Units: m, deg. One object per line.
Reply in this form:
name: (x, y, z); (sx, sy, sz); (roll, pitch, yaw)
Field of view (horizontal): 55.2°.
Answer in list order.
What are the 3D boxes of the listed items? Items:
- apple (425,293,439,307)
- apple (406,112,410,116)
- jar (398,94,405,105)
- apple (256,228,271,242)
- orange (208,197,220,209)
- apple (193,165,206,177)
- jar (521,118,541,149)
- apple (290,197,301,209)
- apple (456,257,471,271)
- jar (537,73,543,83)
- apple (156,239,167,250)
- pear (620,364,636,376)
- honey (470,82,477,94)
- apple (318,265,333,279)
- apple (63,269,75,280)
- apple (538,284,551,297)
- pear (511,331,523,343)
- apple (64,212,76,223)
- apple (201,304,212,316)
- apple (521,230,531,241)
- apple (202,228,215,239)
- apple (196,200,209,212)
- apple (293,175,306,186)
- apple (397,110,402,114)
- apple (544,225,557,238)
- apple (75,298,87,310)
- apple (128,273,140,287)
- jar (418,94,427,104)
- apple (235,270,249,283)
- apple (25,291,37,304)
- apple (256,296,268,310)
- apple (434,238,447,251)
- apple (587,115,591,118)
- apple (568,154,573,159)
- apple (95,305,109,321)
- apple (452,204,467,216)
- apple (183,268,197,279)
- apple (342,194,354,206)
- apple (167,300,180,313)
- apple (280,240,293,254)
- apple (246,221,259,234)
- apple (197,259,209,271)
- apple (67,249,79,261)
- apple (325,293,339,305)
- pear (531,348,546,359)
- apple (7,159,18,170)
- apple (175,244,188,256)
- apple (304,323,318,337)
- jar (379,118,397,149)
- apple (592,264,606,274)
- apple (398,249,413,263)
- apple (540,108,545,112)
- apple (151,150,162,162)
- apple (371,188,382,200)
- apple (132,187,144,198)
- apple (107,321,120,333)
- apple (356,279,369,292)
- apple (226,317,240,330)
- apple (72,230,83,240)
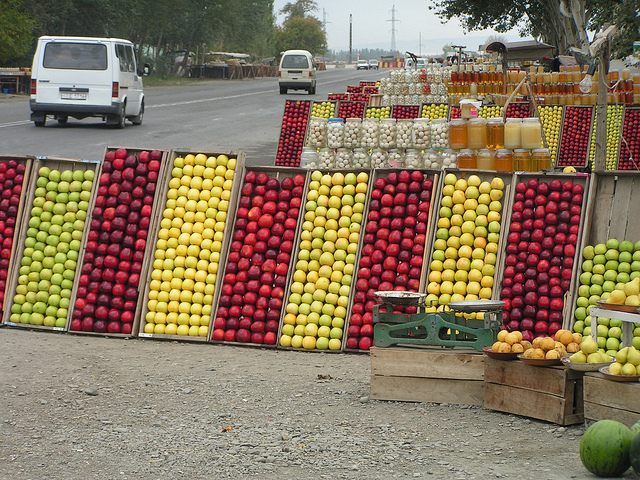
apple: (1.373, 0.740, 7.554); (0.145, 0.094, 0.173); (-12, 22, 11)
apple: (2.659, -3.707, 18.409); (0.090, 0.084, 0.086); (13, -29, 13)
jar: (2.991, -5.072, 22.439); (0.236, 0.347, 0.293); (2, 6, 6)
apple: (-0.754, -0.052, 8.353); (0.178, 0.166, 0.168); (-23, 17, -2)
orange: (-1.470, -0.488, 8.497); (0.116, 0.147, 0.112); (43, 6, -7)
apple: (-1.695, -0.941, 8.587); (0.142, 0.136, 0.127); (2, 13, 1)
jar: (3.035, -1.490, 8.789); (0.257, 0.433, 0.311); (4, 6, 29)
apple: (-0.320, -0.497, 8.426); (0.125, 0.124, 0.122); (10, 46, 37)
apple: (1.796, 0.311, 7.622); (0.167, 0.154, 0.165); (0, 6, 18)
jar: (7.684, -5.556, 21.347); (0.178, 0.321, 0.138); (3, 6, 18)
apple: (-2.184, 0.083, 8.444); (0.150, 0.126, 0.056); (2, 5, 10)
pear: (2.529, 1.065, 5.012); (0.116, 0.083, 0.065); (3, 6, 15)
honey: (5.219, -5.039, 20.773); (0.239, 0.388, 0.375); (2, 6, 13)
apple: (0.075, 0.430, 8.096); (0.168, 0.152, 0.165); (-1, 16, 5)
apple: (-3.488, 0.491, 8.583); (0.147, 0.135, 0.129); (-2, -42, 10)
apple: (2.701, 0.617, 7.362); (0.146, 0.161, 0.133); (0, 1, -4)
pear: (1.931, 0.943, 5.954); (0.088, 0.101, 0.088); (-21, 0, 1)
apple: (-3.515, -0.295, 8.616); (0.135, 0.126, 0.128); (0, 11, 12)
apple: (-1.516, 0.948, 8.231); (0.125, 0.118, 0.118); (-1, -12, 2)
apple: (2.552, -0.039, 7.567); (0.090, 0.130, 0.080); (-1, 6, -24)
apple: (-1.520, -0.072, 8.375); (0.146, 0.134, 0.135); (-12, 43, -24)
apple: (-1.621, -0.445, 8.490); (0.148, 0.145, 0.080); (-23, -11, -5)
apple: (-0.280, -0.793, 8.483); (0.128, 0.123, 0.117); (10, 35, 25)
apple: (2.400, -3.776, 18.395); (0.082, 0.093, 0.080); (5, -2, -6)
apple: (2.819, -0.091, 7.541); (0.146, 0.133, 0.137); (-12, 17, -36)
apple: (-3.261, 0.884, 8.354); (0.133, 0.125, 0.128); (2, 3, -1)
apple: (-2.541, 0.558, 8.372); (0.143, 0.179, 0.062); (3, 6, 24)
jar: (3.799, -5.136, 22.644); (0.294, 0.324, 0.311); (1, 6, 0)
apple: (-1.033, 0.509, 8.286); (0.155, 0.146, 0.141); (-27, -22, 29)
apple: (-4.028, 0.808, 8.549); (0.158, 0.150, 0.143); (6, -11, -10)
apple: (-0.766, 0.848, 8.224); (0.169, 0.148, 0.160); (-17, 1, 1)
apple: (1.535, 0.074, 7.762); (0.132, 0.145, 0.128); (-4, 17, -2)
apple: (8.327, -3.742, 18.921); (0.092, 0.078, 0.044); (4, 6, 24)
apple: (7.726, -2.511, 18.867); (0.130, 0.115, 0.049); (3, 6, 22)
apple: (-2.971, 1.005, 8.345); (0.184, 0.212, 0.121); (-1, 6, -16)
apple: (1.777, -0.367, 7.812); (0.142, 0.135, 0.134); (0, -35, 11)
apple: (-1.750, 0.458, 8.351); (0.146, 0.131, 0.170); (9, 10, -1)
apple: (0.369, -0.513, 8.275); (0.147, 0.141, 0.163); (-15, -19, -28)
apple: (-1.984, 0.923, 8.343); (0.144, 0.132, 0.140); (-6, -26, 10)
apple: (-0.443, 0.108, 8.298); (0.143, 0.141, 0.134); (-24, -49, 26)
apple: (-0.914, -0.155, 8.388); (0.147, 0.142, 0.136); (-3, -36, 2)
apple: (-1.588, 0.358, 8.303); (0.128, 0.144, 0.135); (9, -19, -31)
apple: (-3.437, 0.232, 8.584); (0.149, 0.136, 0.135); (3, -10, 0)
apple: (0.157, 0.783, 8.002); (0.158, 0.138, 0.149); (2, -11, 2)
pear: (1.984, 1.039, 5.552); (0.089, 0.048, 0.089); (-2, 15, 14)
apple: (-4.452, -1.069, 8.875); (0.123, 0.141, 0.119); (-7, -10, -6)
apple: (-1.884, 0.160, 8.455); (0.174, 0.146, 0.145); (8, 0, 18)
apple: (-0.111, 1.170, 7.926); (0.169, 0.156, 0.155); (-8, 10, 0)
jar: (1.175, -1.829, 10.867); (0.381, 0.531, 0.380); (-1, 6, 0)
apple: (3.250, 0.349, 7.123); (0.115, 0.085, 0.106); (0, -2, 11)
apple: (1.097, 0.227, 7.860); (0.158, 0.151, 0.153); (-2, 4, -14)
apple: (7.067, -4.039, 19.410); (0.097, 0.091, 0.094); (0, 11, 1)
apple: (-2.275, -1.145, 8.648); (0.140, 0.135, 0.162); (12, -10, -3)
apple: (0.763, -0.583, 8.105); (0.123, 0.113, 0.120); (1, 16, 1)
apple: (-2.511, -0.647, 8.560); (0.136, 0.157, 0.137); (26, 14, 13)
apple: (-2.786, 1.188, 8.280); (0.140, 0.129, 0.135); (0, 2, -2)
apple: (0.550, 0.600, 7.913); (0.156, 0.135, 0.151); (-1, 6, -2)
apple: (-1.147, 1.124, 8.217); (0.155, 0.150, 0.162); (8, 3, -22)
apple: (-3.395, -0.050, 8.594); (0.118, 0.113, 0.107); (1, -29, -2)
